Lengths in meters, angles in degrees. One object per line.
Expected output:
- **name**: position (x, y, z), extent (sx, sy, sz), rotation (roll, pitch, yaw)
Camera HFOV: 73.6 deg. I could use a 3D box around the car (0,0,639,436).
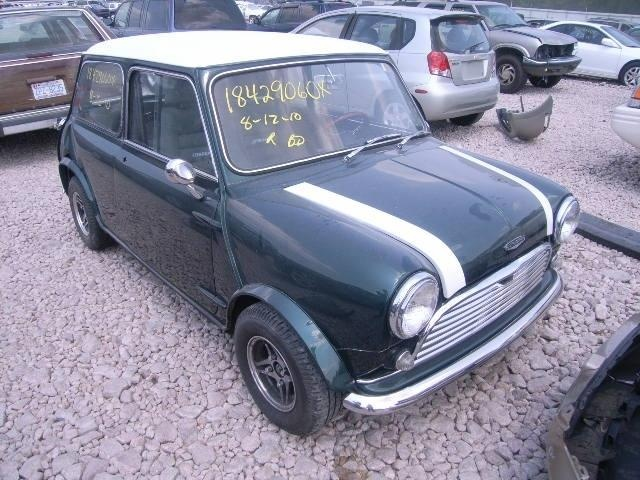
- **car**: position (-0.480, -0.341, 3.719), extent (2.318, 1.968, 4.354), rotation (-31, 46, -31)
